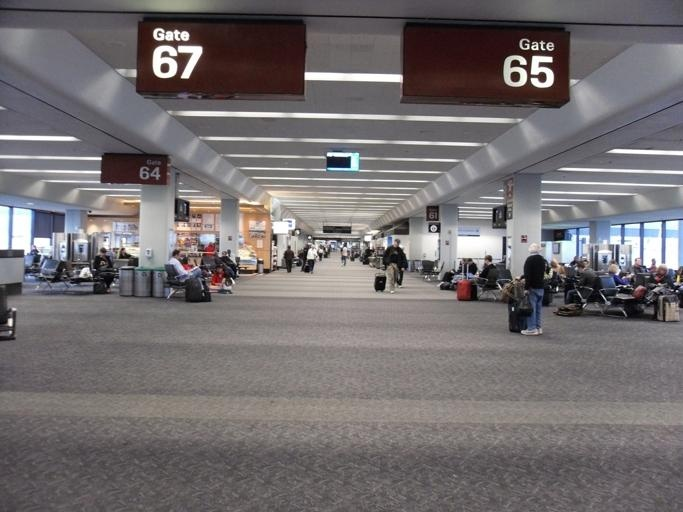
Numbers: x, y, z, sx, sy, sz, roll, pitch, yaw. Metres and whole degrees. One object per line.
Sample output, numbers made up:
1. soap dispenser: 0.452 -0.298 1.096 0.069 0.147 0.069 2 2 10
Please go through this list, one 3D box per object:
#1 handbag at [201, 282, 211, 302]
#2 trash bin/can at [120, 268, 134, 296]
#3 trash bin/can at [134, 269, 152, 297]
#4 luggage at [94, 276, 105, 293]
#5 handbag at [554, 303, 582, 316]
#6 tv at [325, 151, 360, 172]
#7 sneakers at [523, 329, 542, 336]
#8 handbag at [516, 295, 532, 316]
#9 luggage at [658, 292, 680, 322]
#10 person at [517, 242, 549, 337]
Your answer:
1. handbag: -4.027 1.083 14.901 0.162 0.459 0.375 -1 -7 0
2. trash bin/can: -6.797 0.796 15.800 0.413 0.899 0.331 3 -3 -26
3. trash bin/can: -6.239 0.807 15.645 0.574 0.875 0.341 1 -3 -3
4. luggage: -7.921 0.949 16.334 0.352 0.519 0.207 3 -3 -25
5. handbag: 5.988 1.408 13.090 0.494 0.195 0.386 2 2 2
6. tv: 0.037 -2.921 15.360 0.823 0.444 0.103 1 4 0
7. sneakers: 3.824 1.508 9.971 0.347 0.137 0.143 2 3 2
8. handbag: 3.651 0.966 9.972 0.264 0.404 0.307 1 -3 13
9. luggage: 8.079 1.260 12.328 0.444 0.660 0.472 0 -3 30
10. person: 3.975 0.646 10.298 0.447 1.845 1.053 0 -3 22
